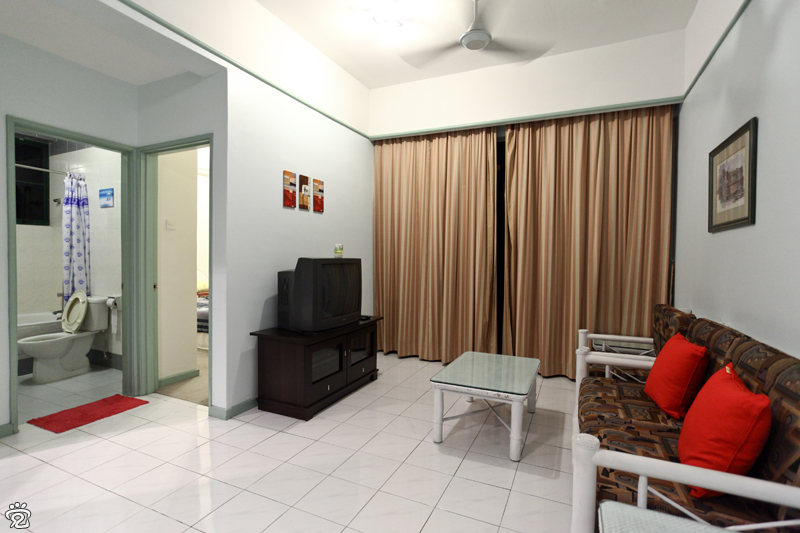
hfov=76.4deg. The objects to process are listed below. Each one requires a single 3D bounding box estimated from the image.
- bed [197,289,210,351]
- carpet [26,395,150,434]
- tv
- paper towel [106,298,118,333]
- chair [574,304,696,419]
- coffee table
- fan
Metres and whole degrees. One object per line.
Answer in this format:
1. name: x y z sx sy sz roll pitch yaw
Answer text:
1. bed: -2.901 0.784 7.498 0.162 0.728 1.469 -3 4 -21
2. carpet: -3.037 1.448 4.995 0.480 0.108 0.932 1 5 39
3. tv: -0.895 0.307 5.502 0.681 0.767 1.002 0 2 25
4. paper towel: -3.334 0.581 5.918 0.220 0.432 0.068 1 5 37
5. chair: 2.170 0.845 4.718 0.856 0.818 0.885 1 3 28
6. coffee table: 0.818 1.293 4.794 0.875 0.692 0.886 0 4 20
7. fan: 0.859 -2.485 5.833 1.253 0.253 1.289 -5 5 -39
